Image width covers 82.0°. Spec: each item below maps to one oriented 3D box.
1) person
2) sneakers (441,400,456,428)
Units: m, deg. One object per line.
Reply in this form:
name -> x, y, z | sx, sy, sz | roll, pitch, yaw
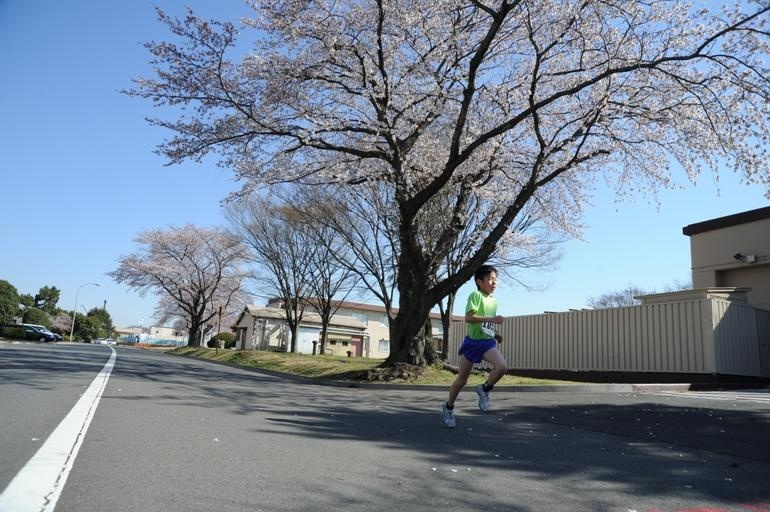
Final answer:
person -> 1.179, 1.139, 5.604 | 0.751, 2.055, 1.544 | 1, -12, 9
sneakers -> 0.853, 2.050, 5.624 | 0.139, 0.387, 0.174 | -4, -4, -29
